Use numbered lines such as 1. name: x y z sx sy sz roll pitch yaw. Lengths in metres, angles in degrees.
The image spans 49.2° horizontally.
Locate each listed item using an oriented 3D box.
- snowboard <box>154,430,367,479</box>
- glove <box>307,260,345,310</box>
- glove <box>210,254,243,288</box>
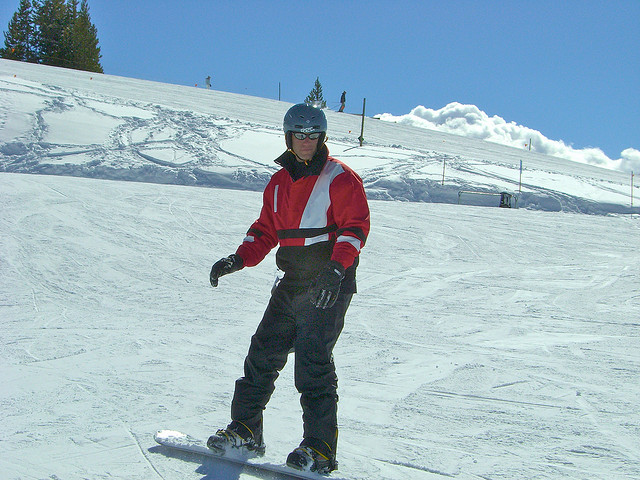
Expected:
1. snowboard: -0.523 1.732 5.625 1.328 0.047 0.280 6 2 9
2. glove: 0.041 0.352 5.551 0.286 0.358 0.132 24 3 -7
3. glove: -0.789 0.254 5.885 0.207 0.087 0.330 19 35 29
